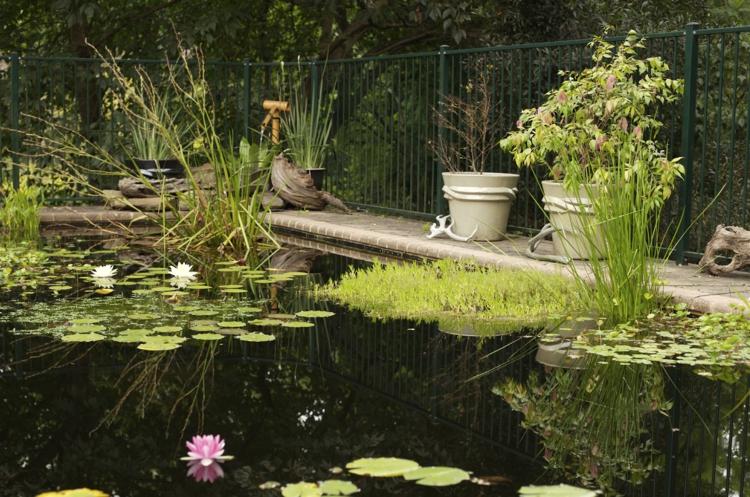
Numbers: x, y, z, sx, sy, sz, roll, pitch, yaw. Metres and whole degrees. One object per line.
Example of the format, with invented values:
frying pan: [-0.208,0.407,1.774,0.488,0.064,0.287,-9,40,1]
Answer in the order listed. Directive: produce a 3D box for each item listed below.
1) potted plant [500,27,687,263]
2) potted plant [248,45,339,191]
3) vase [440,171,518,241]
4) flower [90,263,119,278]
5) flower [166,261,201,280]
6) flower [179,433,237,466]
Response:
potted plant: [1.734,-0.673,8.336,1.083,1.449,0.937,5,-9,-7]
potted plant: [-0.837,-1.227,11.275,0.558,1.180,0.735,-14,-7,25]
vase: [1.005,-0.462,9.353,0.725,0.684,0.773,5,15,19]
flower: [-2.180,0.188,7.614,0.135,0.067,0.144,-2,7,24]
flower: [-1.542,0.198,7.750,0.182,0.097,0.170,6,14,-47]
flower: [-0.919,1.078,5.137,0.261,0.132,0.281,-5,-3,3]
